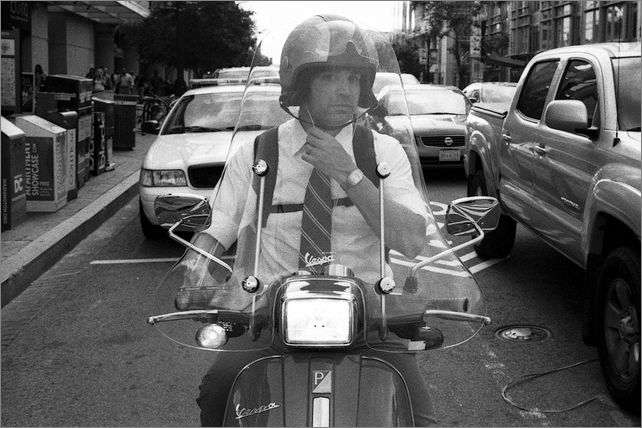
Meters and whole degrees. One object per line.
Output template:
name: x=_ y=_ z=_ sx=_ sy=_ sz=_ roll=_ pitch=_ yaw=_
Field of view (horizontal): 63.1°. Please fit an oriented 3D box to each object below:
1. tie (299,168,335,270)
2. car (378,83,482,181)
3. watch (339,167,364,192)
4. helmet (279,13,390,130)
tie: x=-0.013 y=0.017 z=1.744 sx=0.103 sy=0.297 sz=0.154 roll=0 pitch=11 yaw=2
car: x=2.964 y=-2.079 z=12.400 sx=1.883 sy=1.844 sz=4.374 roll=0 pitch=8 yaw=-3
watch: x=0.105 y=-0.108 z=1.715 sx=0.067 sy=0.066 sz=0.026 roll=-37 pitch=77 yaw=-29
helmet: x=0.021 y=-0.508 z=1.939 sx=0.346 sy=0.432 sz=0.425 roll=-2 pitch=9 yaw=-12
